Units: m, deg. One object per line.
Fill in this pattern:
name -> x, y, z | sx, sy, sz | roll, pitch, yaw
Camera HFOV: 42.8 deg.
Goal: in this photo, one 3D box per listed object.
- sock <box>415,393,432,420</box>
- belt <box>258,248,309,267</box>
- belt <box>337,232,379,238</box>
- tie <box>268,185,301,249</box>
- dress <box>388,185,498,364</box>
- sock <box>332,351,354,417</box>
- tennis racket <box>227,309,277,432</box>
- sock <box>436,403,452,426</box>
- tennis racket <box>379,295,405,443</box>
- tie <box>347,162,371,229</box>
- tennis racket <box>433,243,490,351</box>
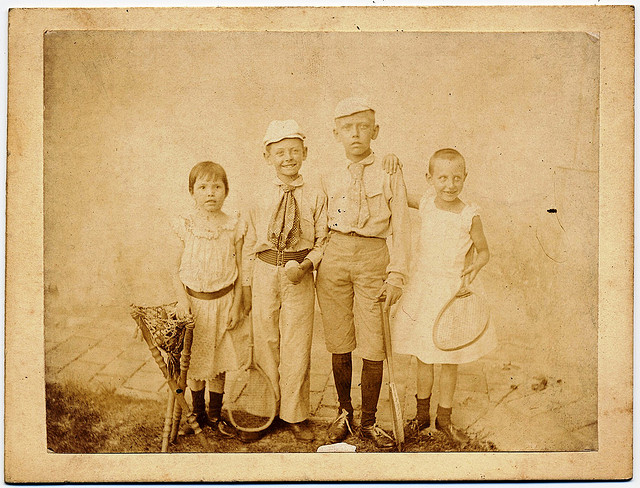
sock -> 0.761, 1.227, 6.209 | 0.125, 0.178, 0.094 | 3, 6, 21
belt -> -0.273, 0.087, 5.987 | 0.371, 0.128, 0.084 | 1, 6, -4
belt -> 0.266, -0.076, 5.981 | 0.270, 0.042, 0.032 | 1, 6, 1
tie -> -0.265, -0.228, 5.914 | 0.205, 0.529, 0.103 | 2, 29, -8
dress -> 0.955, 0.262, 6.234 | 0.883, 1.282, 0.810 | 11, 22, 19
sock -> 0.179, 1.046, 6.144 | 0.181, 0.503, 0.081 | -2, 6, -27
tennis racket -> -0.528, 0.946, 6.277 | 0.372, 0.067, 1.094 | 5, 49, -10
sock -> 0.923, 1.290, 6.173 | 0.137, 0.188, 0.122 | -1, -6, 3
tennis racket -> 0.529, 0.924, 6.074 | 0.206, 1.141, 0.203 | 1, 6, 6
tie -> 0.271, -0.397, 5.964 | 0.169, 0.494, 0.052 | 8, 45, 18
tennis racket -> 1.035, 0.364, 5.931 | 0.429, 1.087, 0.099 | -6, 39, -7
